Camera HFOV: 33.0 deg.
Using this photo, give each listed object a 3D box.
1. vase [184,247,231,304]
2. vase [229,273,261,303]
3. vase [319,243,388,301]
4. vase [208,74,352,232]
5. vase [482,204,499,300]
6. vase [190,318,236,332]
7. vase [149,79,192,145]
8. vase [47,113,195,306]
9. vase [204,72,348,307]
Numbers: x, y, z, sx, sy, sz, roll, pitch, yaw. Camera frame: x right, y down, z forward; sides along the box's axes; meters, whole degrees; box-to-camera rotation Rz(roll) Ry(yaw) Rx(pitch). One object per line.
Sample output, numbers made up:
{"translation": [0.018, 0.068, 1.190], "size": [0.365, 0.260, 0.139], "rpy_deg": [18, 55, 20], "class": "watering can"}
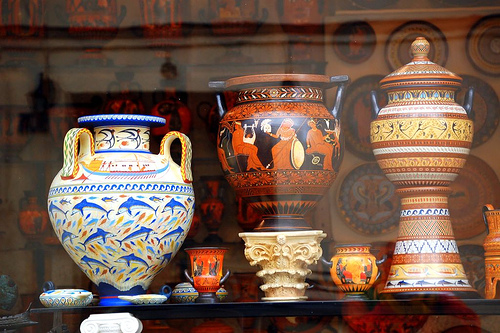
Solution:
{"translation": [-0.199, 0.500, 3.891], "size": [0.288, 0.262, 0.245], "rpy_deg": [0, -10, -3], "class": "vase"}
{"translation": [-0.022, 0.622, 4.292], "size": [0.185, 0.150, 0.128], "rpy_deg": [-2, -14, -2], "class": "vase"}
{"translation": [0.474, 0.499, 3.965], "size": [0.371, 0.250, 0.208], "rpy_deg": [1, -9, -15], "class": "vase"}
{"translation": [0.136, -0.022, 4.288], "size": [0.934, 0.750, 0.709], "rpy_deg": [-1, -3, 1], "class": "vase"}
{"translation": [1.143, 0.414, 4.027], "size": [0.083, 0.420, 0.104], "rpy_deg": [-3, -4, 14], "class": "vase"}
{"translation": [-0.186, 0.786, 4.217], "size": [0.227, 0.068, 0.047], "rpy_deg": [-2, -4, 6], "class": "vase"}
{"translation": [-0.373, -0.288, 4.480], "size": [0.210, 0.301, 0.200], "rpy_deg": [4, -7, -31], "class": "vase"}
{"translation": [-0.590, 0.198, 3.937], "size": [0.663, 0.882, 0.214], "rpy_deg": [-1, -4, -12], "class": "vase"}
{"translation": [0.145, 0.082, 4.096], "size": [0.688, 1.144, 0.402], "rpy_deg": [-2, -4, 5], "class": "vase"}
